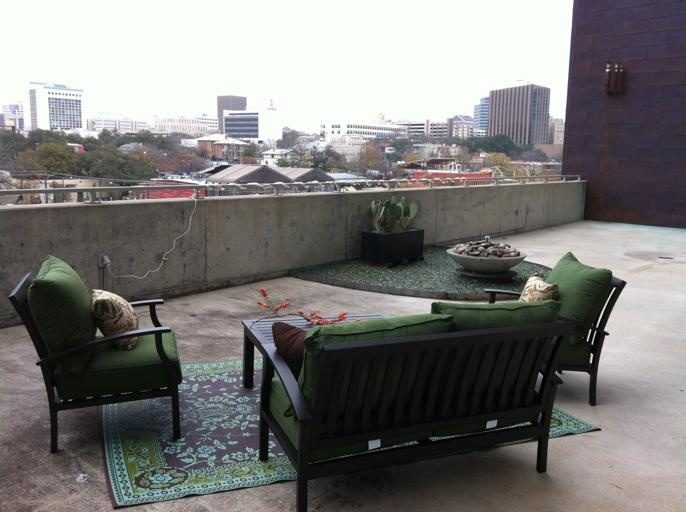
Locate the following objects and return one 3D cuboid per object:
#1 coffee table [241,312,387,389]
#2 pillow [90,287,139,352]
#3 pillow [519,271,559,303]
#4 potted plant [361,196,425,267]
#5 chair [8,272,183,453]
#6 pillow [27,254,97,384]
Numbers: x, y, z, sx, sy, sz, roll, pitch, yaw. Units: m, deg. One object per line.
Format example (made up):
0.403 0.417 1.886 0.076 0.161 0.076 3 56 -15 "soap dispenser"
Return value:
-0.296 0.662 3.832 0.764 0.447 0.701 -1 7 -19 "coffee table"
-1.577 0.554 3.761 0.350 0.413 0.598 3 11 -22 "pillow"
1.721 0.264 4.664 0.132 0.263 0.309 29 4 0 "pillow"
0.756 -0.378 8.433 1.154 1.082 0.621 -6 10 -43 "potted plant"
-1.627 0.598 3.961 1.212 1.256 1.049 -2 11 -19 "chair"
-1.802 0.401 3.431 0.338 0.630 0.494 -7 15 -23 "pillow"
